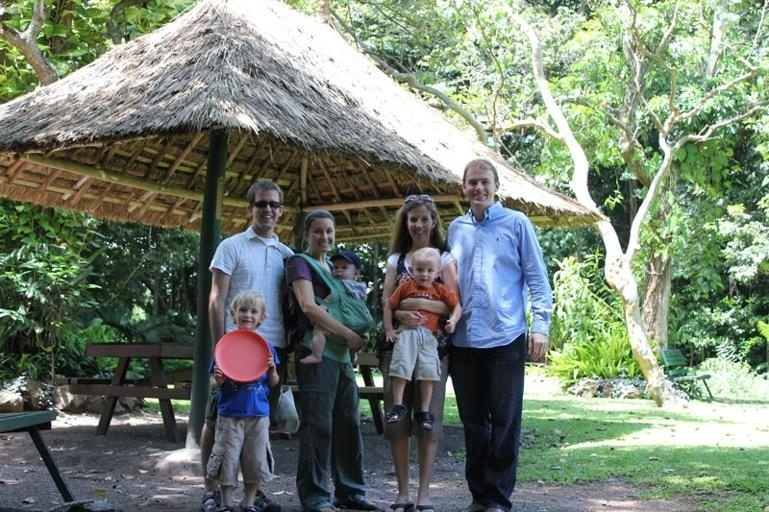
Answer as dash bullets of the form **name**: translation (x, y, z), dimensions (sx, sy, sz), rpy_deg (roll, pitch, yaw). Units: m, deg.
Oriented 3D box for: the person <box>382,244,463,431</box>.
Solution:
- **person**: translation (0.351, 0.767, 6.918), dimensions (0.717, 1.658, 0.324), rpy_deg (-1, -13, 3)
